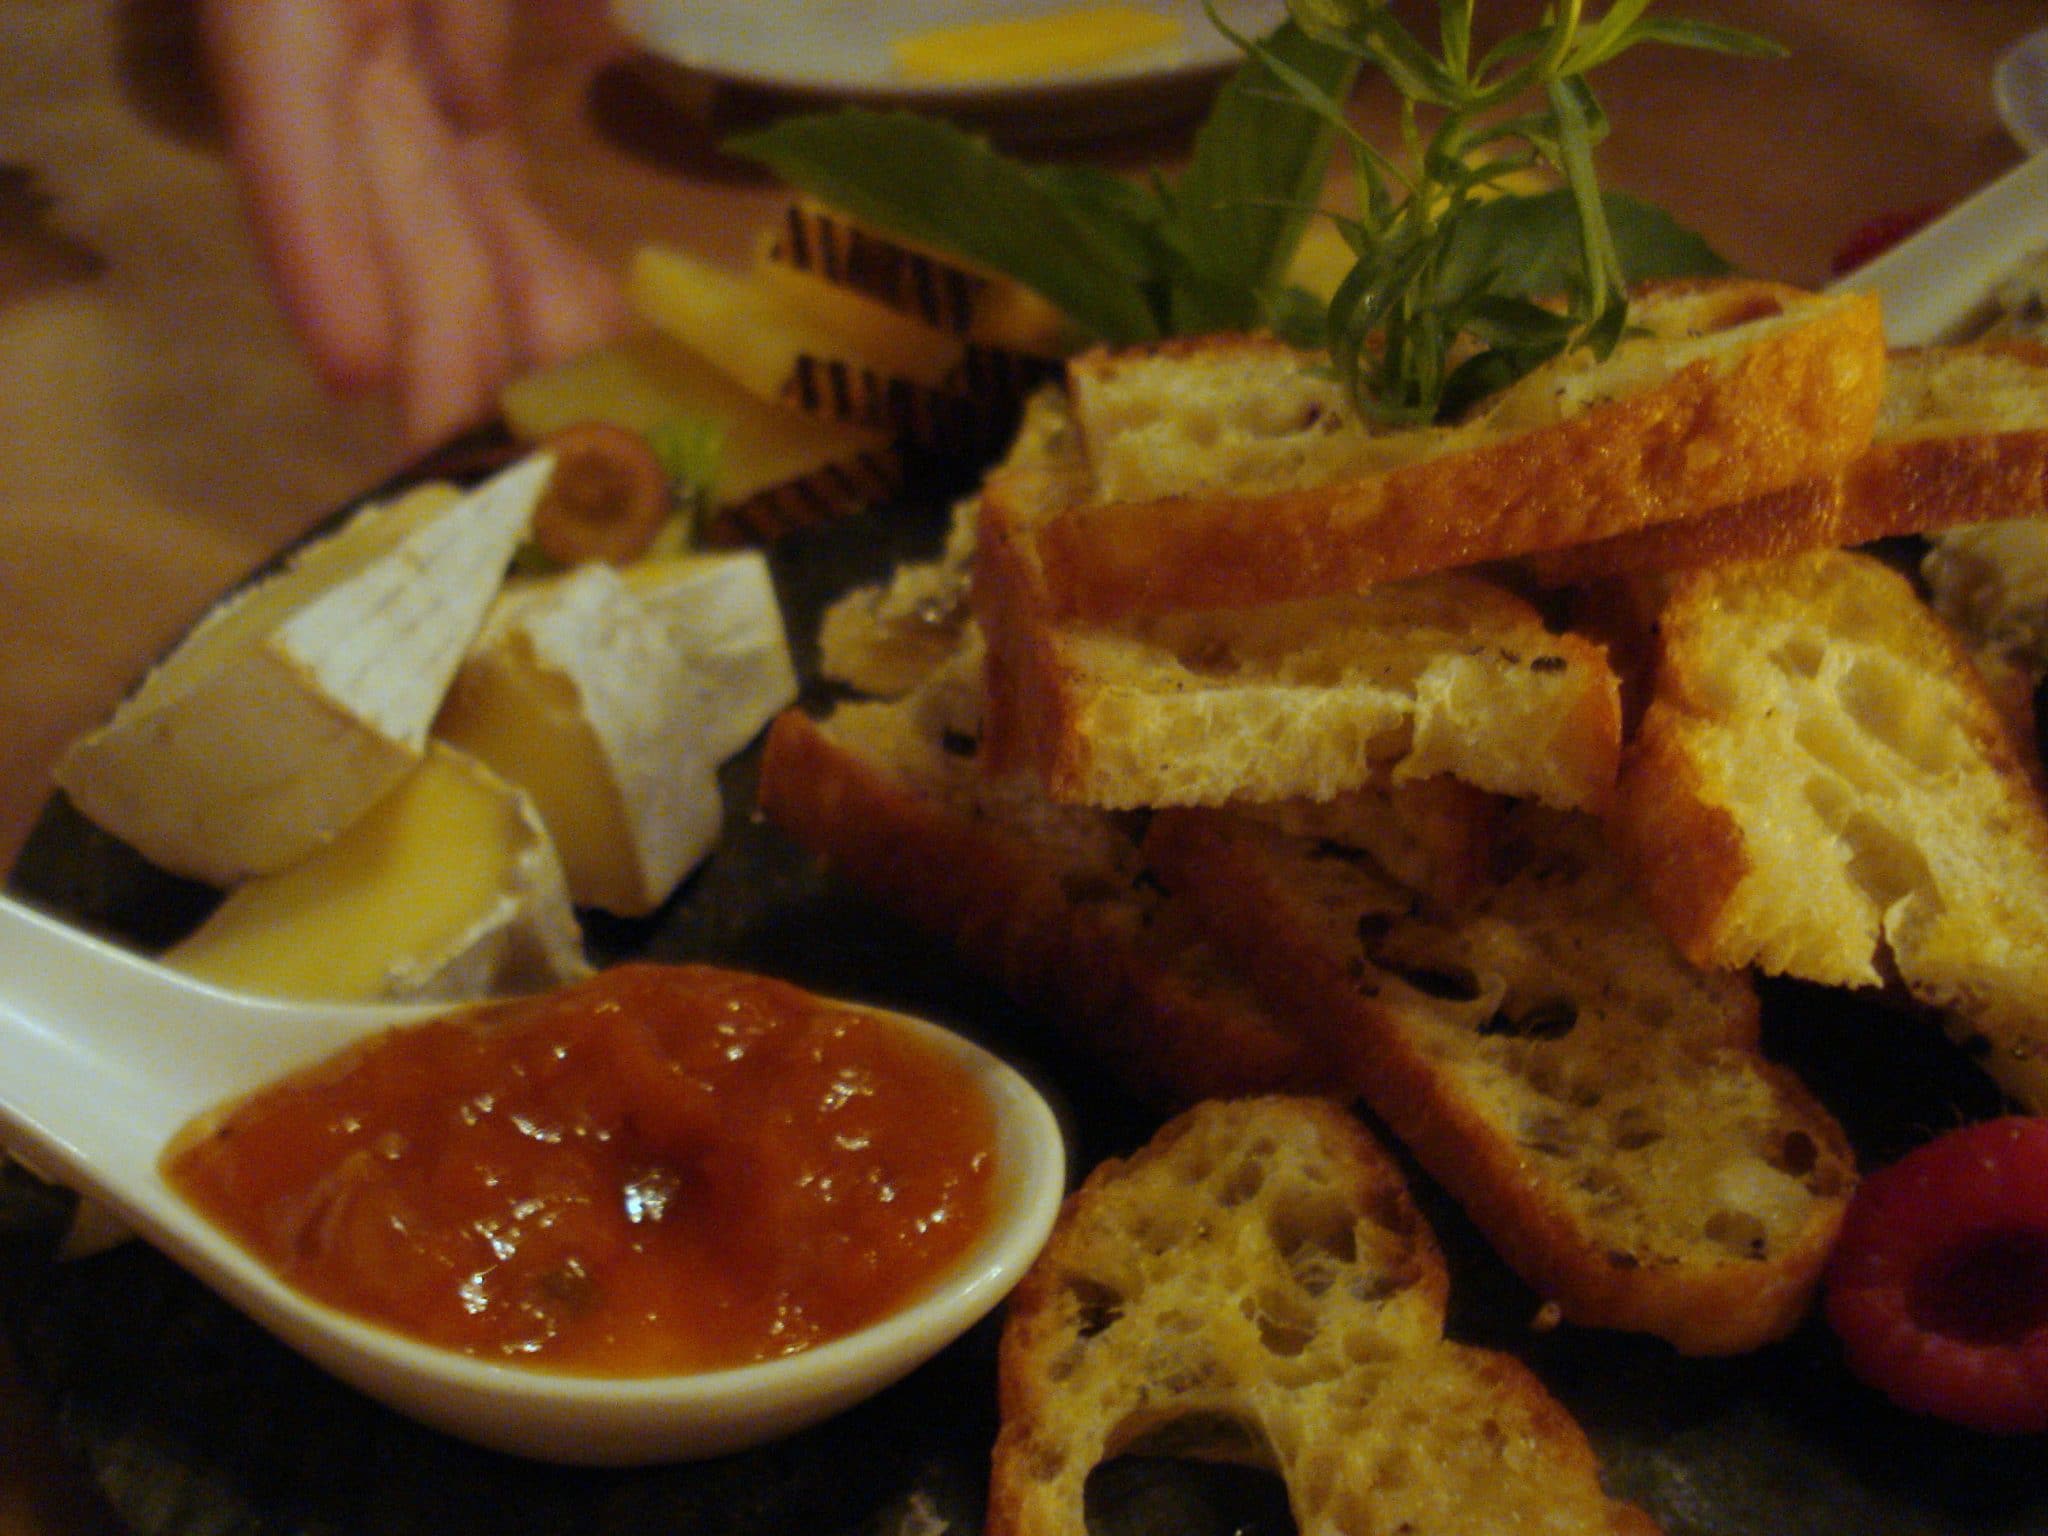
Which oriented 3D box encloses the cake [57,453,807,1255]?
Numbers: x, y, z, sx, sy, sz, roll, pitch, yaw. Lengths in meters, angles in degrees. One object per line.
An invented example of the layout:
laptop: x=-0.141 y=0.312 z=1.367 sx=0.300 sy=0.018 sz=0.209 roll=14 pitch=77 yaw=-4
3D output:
cake: x=-0.602 y=-0.076 z=2.086 sx=0.637 sy=0.261 sz=0.785 roll=18 pitch=51 yaw=1
